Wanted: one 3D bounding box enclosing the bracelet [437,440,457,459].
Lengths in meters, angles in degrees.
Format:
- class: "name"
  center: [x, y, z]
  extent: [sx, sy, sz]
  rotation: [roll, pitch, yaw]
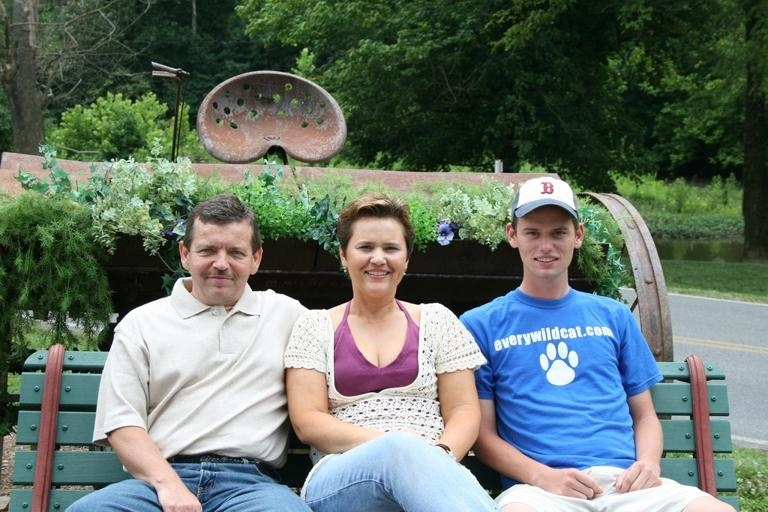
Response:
- class: "bracelet"
  center: [0.561, 1.697, 8.086]
  extent: [0.052, 0.148, 0.109]
  rotation: [-43, 17, -25]
